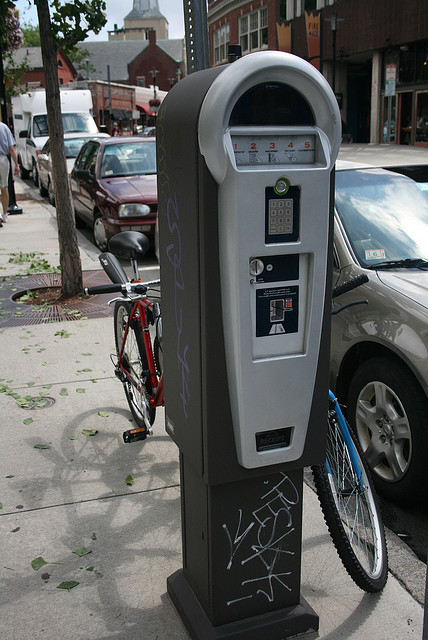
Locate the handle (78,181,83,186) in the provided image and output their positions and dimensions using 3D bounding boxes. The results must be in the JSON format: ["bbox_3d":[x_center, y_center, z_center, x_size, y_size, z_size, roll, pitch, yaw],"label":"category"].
[{"bbox_3d":[-2.839,-2.899,10.593,0.055,0.114,0.364,-3,11,-19],"label":"handle"}]

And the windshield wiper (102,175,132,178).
[{"bbox_3d":[-1.930,-2.814,9.770,0.341,0.037,0.052,-4,35,-6],"label":"windshield wiper"}]

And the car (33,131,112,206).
[{"bbox_3d":[-4.553,-4.930,16.508,2.716,2.739,5.659,-5,16,-18],"label":"car"}]

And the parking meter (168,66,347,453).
[{"bbox_3d":[0.100,-0.118,1.416,0.498,1.104,0.407,0,10,2],"label":"parking meter"}]
